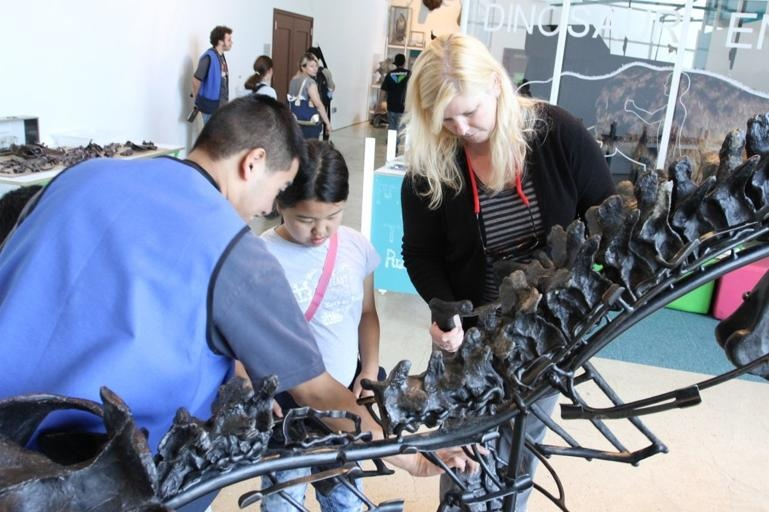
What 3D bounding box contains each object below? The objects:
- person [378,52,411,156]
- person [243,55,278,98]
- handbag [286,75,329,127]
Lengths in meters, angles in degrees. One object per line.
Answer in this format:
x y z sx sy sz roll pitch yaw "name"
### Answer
0.253 -2.450 9.418 0.617 1.832 0.486 -1 -9 15 "person"
-1.503 -2.190 6.686 0.349 0.511 1.471 -3 15 -13 "person"
-0.947 -1.870 6.660 0.447 0.518 0.274 14 33 22 "handbag"
